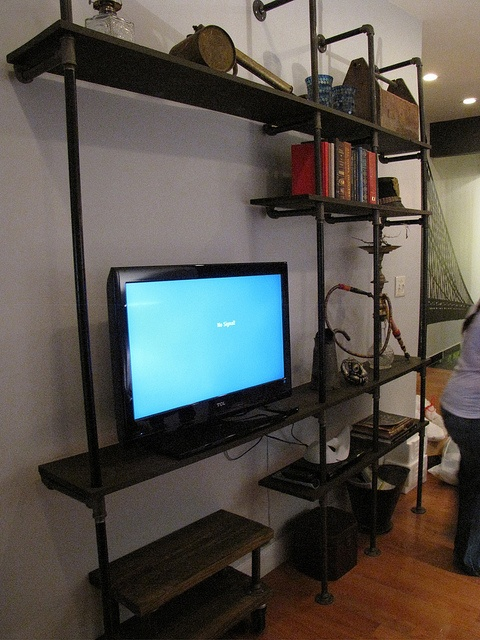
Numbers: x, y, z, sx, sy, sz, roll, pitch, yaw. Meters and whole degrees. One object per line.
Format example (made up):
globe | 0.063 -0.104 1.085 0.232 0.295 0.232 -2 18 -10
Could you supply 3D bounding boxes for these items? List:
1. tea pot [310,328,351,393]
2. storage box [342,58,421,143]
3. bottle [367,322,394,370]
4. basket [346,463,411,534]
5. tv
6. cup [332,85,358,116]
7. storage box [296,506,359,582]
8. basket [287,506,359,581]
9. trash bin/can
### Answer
tea pot | 0.333 0.151 2.071 0.145 0.243 0.120 9 26 22
storage box | 0.627 -0.977 2.421 0.235 0.286 0.434 10 12 35
bottle | 0.652 0.110 2.468 0.084 0.194 0.087 -4 14 1
basket | 0.615 0.843 2.496 0.321 0.294 0.324 4 -25 3
tv | -0.090 0.089 1.568 0.656 0.505 0.186 -7 5 -43
cup | 0.394 -0.839 2.088 0.120 0.125 0.125 -2 6 0
storage box | 0.347 0.873 2.132 0.203 0.165 0.216 1 5 27
basket | 0.322 0.868 2.144 0.205 0.173 0.224 0 4 31
trash bin/can | 0.615 0.810 2.484 0.338 0.291 0.301 12 -7 -41
